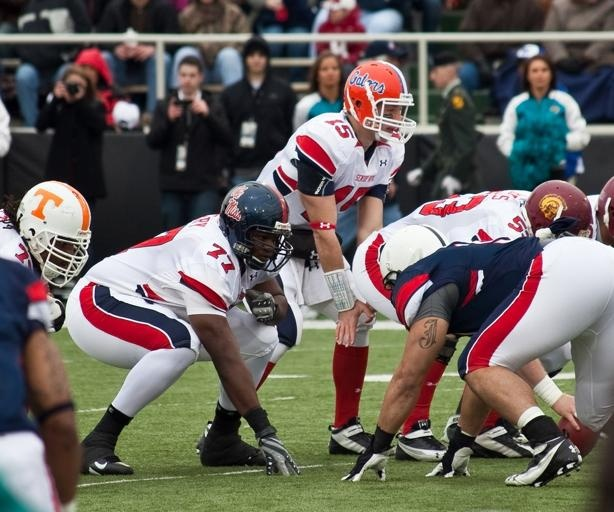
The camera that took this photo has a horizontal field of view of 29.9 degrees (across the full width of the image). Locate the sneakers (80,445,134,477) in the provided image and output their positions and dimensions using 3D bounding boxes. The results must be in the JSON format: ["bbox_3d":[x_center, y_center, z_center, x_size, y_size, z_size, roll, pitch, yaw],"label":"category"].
[{"bbox_3d":[-0.859,0.915,5.154,0.296,0.123,0.112,-1,-7,13],"label":"sneakers"}]

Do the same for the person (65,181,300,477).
[{"bbox_3d":[-0.366,0.414,5.858,1.333,1.526,1.044,5,-3,4],"label":"person"}]

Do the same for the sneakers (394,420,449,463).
[{"bbox_3d":[0.551,0.910,5.661,0.255,0.164,0.146,-3,-2,16],"label":"sneakers"}]

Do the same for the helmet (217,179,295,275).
[{"bbox_3d":[-0.244,-0.153,5.313,0.398,0.371,0.306,22,11,25],"label":"helmet"}]

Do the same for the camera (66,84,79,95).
[{"bbox_3d":[-1.886,-1.343,9.280,0.106,0.106,0.049,15,18,22],"label":"camera"}]

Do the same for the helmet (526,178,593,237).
[{"bbox_3d":[1.201,-0.213,5.488,0.329,0.314,0.267,10,8,19],"label":"helmet"}]

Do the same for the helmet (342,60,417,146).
[{"bbox_3d":[0.369,-0.794,5.898,0.391,0.382,0.302,22,20,37],"label":"helmet"}]

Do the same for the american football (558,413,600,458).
[{"bbox_3d":[1.228,0.784,5.155,0.153,0.191,0.155,-26,18,-13],"label":"american football"}]

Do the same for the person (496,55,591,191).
[{"bbox_3d":[1.819,-0.996,8.843,0.643,1.091,0.660,11,17,8],"label":"person"}]

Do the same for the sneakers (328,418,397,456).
[{"bbox_3d":[0.273,0.905,5.784,0.392,0.181,0.135,1,-4,-6],"label":"sneakers"}]

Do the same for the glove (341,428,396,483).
[{"bbox_3d":[0.285,0.872,5.011,0.123,0.249,0.358,17,-20,-29],"label":"glove"}]
